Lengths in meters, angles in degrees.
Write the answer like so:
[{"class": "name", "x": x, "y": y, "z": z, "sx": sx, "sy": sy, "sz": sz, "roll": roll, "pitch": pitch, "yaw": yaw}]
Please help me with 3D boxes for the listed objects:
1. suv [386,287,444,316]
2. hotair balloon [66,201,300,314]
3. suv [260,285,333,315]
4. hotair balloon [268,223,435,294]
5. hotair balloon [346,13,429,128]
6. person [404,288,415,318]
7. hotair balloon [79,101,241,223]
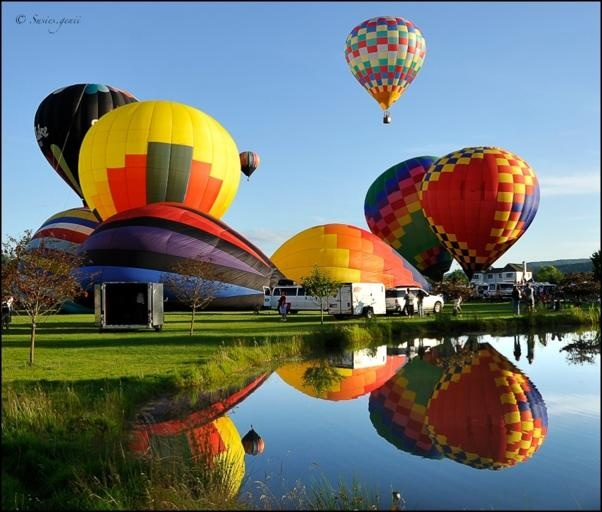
[{"class": "suv", "x": 6.183, "y": 2.473, "z": 29.272, "sx": 3.753, "sy": 1.533, "sz": 1.382, "roll": 2, "pitch": -3, "yaw": -41}, {"class": "hotair balloon", "x": -6.277, "y": -0.017, "z": 27.557, "sx": 9.320, "sy": 5.710, "sz": 3.933, "roll": 1, "pitch": -6, "yaw": -24}, {"class": "suv", "x": -0.297, "y": 2.182, "z": 27.156, "sx": 4.095, "sy": 1.869, "sz": 1.635, "roll": 0, "pitch": -1, "yaw": -6}, {"class": "hotair balloon", "x": 1.661, "y": 0.054, "z": 38.129, "sx": 10.211, "sy": 4.406, "sz": 6.321, "roll": -8, "pitch": 5, "yaw": -28}, {"class": "hotair balloon", "x": 5.230, "y": -11.501, "z": 32.997, "sx": 4.072, "sy": 6.057, "sz": 4.238, "roll": 7, "pitch": 19, "yaw": 32}, {"class": "person", "x": 5.563, "y": 2.350, "z": 27.250, "sx": 0.396, "sy": 1.450, "sz": 1.434, "roll": -2, "pitch": -5, "yaw": 8}, {"class": "hotair balloon", "x": -8.319, "y": -5.280, "z": 30.734, "sx": 7.259, "sy": 8.522, "sz": 8.113, "roll": -4, "pitch": -13, "yaw": 7}]
